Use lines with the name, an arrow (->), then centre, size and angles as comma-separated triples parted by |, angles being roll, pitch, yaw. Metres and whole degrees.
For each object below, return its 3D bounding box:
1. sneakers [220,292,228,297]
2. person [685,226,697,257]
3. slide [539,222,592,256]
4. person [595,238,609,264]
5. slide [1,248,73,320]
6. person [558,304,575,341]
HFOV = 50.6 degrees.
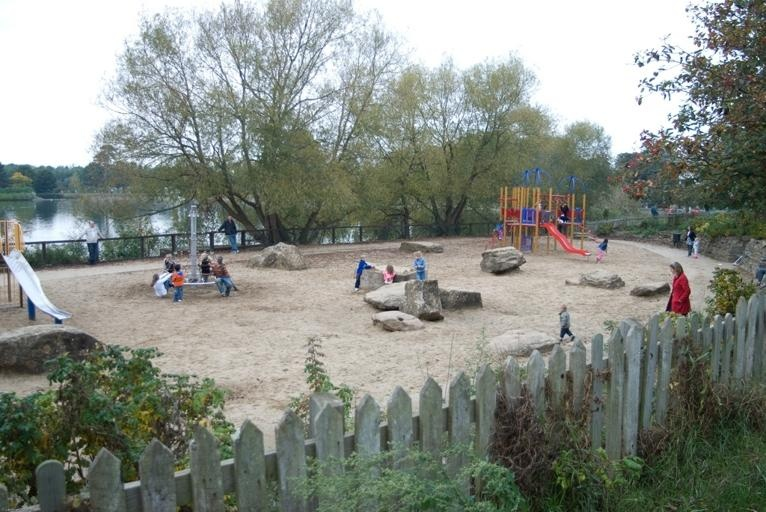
sneakers -> -4.471, 1.083, 22.898 | 0.264, 0.088, 0.214 | 2, 11, 8
person -> 12.810, -0.598, 33.667 | 0.320, 1.255, 1.416 | 4, 11, 21
slide -> 7.389, -0.770, 33.680 | 2.346, 1.098, 0.310 | 14, 8, 32
person -> 9.044, -0.178, 33.500 | 0.432, 0.373, 1.053 | -17, -30, -18
slide -> -9.531, 0.800, 22.140 | 2.384, 0.380, 0.572 | 39, 18, 28
person -> 4.165, 1.396, 18.349 | 0.314, 0.815, 1.468 | 2, 11, 13
